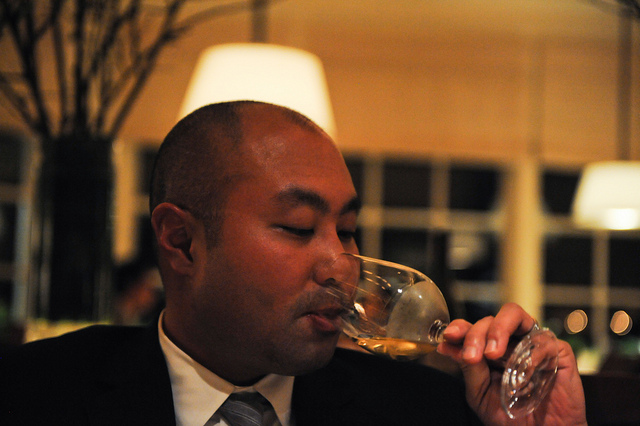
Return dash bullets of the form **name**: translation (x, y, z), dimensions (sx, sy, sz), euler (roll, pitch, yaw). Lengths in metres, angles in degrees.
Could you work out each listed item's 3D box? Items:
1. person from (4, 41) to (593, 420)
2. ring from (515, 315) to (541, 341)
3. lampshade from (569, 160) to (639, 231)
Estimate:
- **person**: translation (-0.112, 0.029, 2.312), dimensions (1.079, 0.764, 0.680), euler (5, -8, -27)
- **ring**: translation (0.629, 0.351, 2.179), dimensions (0.067, 0.038, 0.089), euler (-4, 13, -15)
- **lampshade**: translation (0.953, -0.057, 2.443), dimensions (0.268, 0.235, 0.133), euler (-5, 8, -32)
